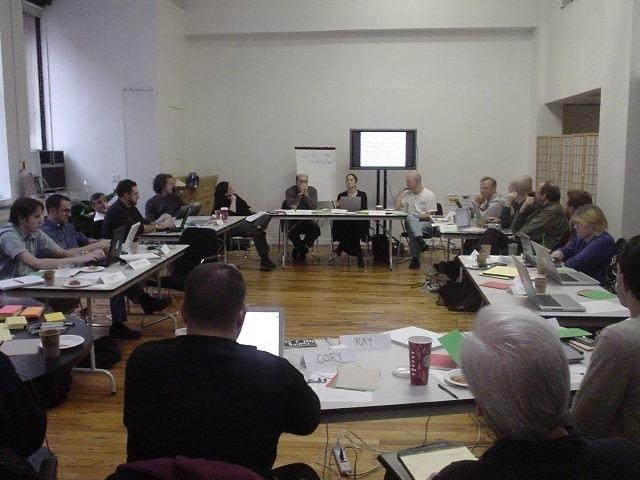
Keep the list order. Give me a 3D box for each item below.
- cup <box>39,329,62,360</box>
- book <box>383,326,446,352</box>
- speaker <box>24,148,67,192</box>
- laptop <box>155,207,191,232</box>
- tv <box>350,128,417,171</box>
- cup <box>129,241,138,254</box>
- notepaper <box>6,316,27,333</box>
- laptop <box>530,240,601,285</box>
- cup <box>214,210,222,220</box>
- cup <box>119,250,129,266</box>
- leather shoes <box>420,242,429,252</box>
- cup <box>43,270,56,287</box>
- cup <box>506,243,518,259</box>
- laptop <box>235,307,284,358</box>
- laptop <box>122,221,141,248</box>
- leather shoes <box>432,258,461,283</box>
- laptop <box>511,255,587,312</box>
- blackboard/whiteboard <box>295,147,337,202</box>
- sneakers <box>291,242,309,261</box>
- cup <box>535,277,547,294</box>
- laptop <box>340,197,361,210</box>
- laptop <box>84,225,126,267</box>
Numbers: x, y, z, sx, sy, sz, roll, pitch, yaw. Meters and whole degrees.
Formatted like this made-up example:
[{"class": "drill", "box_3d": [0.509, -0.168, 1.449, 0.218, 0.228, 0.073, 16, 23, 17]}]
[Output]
[{"class": "cup", "box_3d": [-1.433, 0.557, 2.681, 0.127, 0.140, 0.130, -1, -1, 0]}, {"class": "book", "box_3d": [0.481, 0.490, 2.571, 0.166, 0.038, 0.165, 0, 3, -35]}, {"class": "speaker", "box_3d": [-4.149, -1.043, 7.590, 0.281, 0.547, 0.579, 3, 10, 7]}, {"class": "laptop", "box_3d": [-1.761, -0.224, 5.970, 0.323, 0.262, 0.393, 5, 6, -15]}, {"class": "tv", "box_3d": [1.012, -1.480, 8.190, 1.027, 0.641, 0.258, 2, 10, 14]}, {"class": "cup", "box_3d": [-1.727, 0.072, 4.637, 0.069, 0.068, 0.110, 10, -28, -2]}, {"class": "notepaper", "box_3d": [-1.812, 0.496, 3.004, 0.088, 0.021, 0.081, 3, 14, -18]}, {"class": "laptop", "box_3d": [1.763, 0.168, 3.660, 0.445, 0.246, 0.470, -1, 6, -7]}, {"class": "cup", "box_3d": [-1.391, -0.343, 6.846, 0.126, 0.162, 0.133, 0, 2, 0]}, {"class": "cup", "box_3d": [-1.693, 0.165, 4.330, 0.095, 0.159, 0.048, 0, -5, -7]}, {"class": "leather shoes", "box_3d": [1.514, 0.089, 7.330, 0.096, 0.141, 0.146, -1, -7, 2]}, {"class": "cup", "box_3d": [-1.901, 0.273, 3.539, 0.095, 0.102, 0.101, -2, 3, 0]}, {"class": "cup", "box_3d": [1.759, 0.097, 4.628, 0.131, 0.134, 0.096, 0, 2, -4]}, {"class": "laptop", "box_3d": [-0.242, 0.396, 2.258, 0.287, 0.223, 0.278, 7, -12, -2]}, {"class": "laptop", "box_3d": [-1.790, -0.057, 4.743, 0.160, 0.157, 0.222, 18, 3, -3]}, {"class": "leather shoes", "box_3d": [1.499, 0.351, 5.912, 0.239, 0.137, 0.317, 2, 9, 4]}, {"class": "laptop", "box_3d": [1.416, 0.270, 3.148, 0.344, 0.261, 0.446, 0, 4, 13]}, {"class": "blackboard/whiteboard", "box_3d": [-0.090, -1.098, 8.426, 0.904, 1.196, 0.121, -1, -2, -4]}, {"class": "sneakers", "box_3d": [-0.325, 0.184, 7.876, 0.184, 0.339, 0.142, 7, 22, -5]}, {"class": "cup", "box_3d": [1.424, 0.296, 3.268, 0.083, 0.103, 0.102, -2, 5, 0]}, {"class": "laptop", "box_3d": [0.430, -0.534, 7.354, 0.256, 0.183, 0.176, 0, 2, 15]}, {"class": "laptop", "box_3d": [-1.764, 0.043, 4.133, 0.298, 0.291, 0.412, 7, 9, -1]}]
